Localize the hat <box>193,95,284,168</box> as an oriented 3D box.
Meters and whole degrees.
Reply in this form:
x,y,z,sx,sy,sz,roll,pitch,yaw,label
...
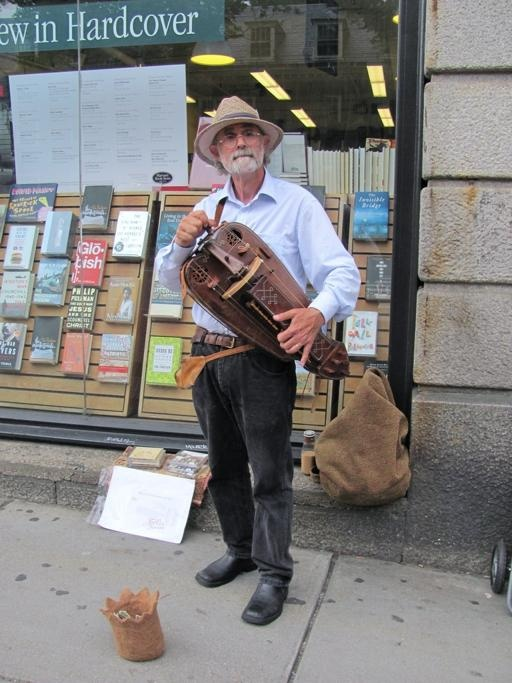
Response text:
x,y,z,sx,sy,sz,roll,pitch,yaw,label
-0.073,-0.833,2.118,0.236,0.111,0.210,3,-6,-41,hat

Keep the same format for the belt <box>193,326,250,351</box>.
x,y,z,sx,sy,sz,roll,pitch,yaw,label
-0.149,-0.007,2.089,0.136,0.039,0.100,13,-2,15,belt

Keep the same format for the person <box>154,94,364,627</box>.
x,y,z,sx,sy,sz,roll,pitch,yaw,label
-0.057,0.041,2.146,0.578,1.915,0.719,0,4,-32,person

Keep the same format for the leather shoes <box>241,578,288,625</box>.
x,y,z,sx,sy,sz,roll,pitch,yaw,label
0.052,0.956,2.118,0.122,0.118,0.326,-3,-4,19,leather shoes

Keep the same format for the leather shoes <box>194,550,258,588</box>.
x,y,z,sx,sy,sz,roll,pitch,yaw,label
-0.135,0.939,2.379,0.275,0.111,0.105,-6,9,-34,leather shoes
